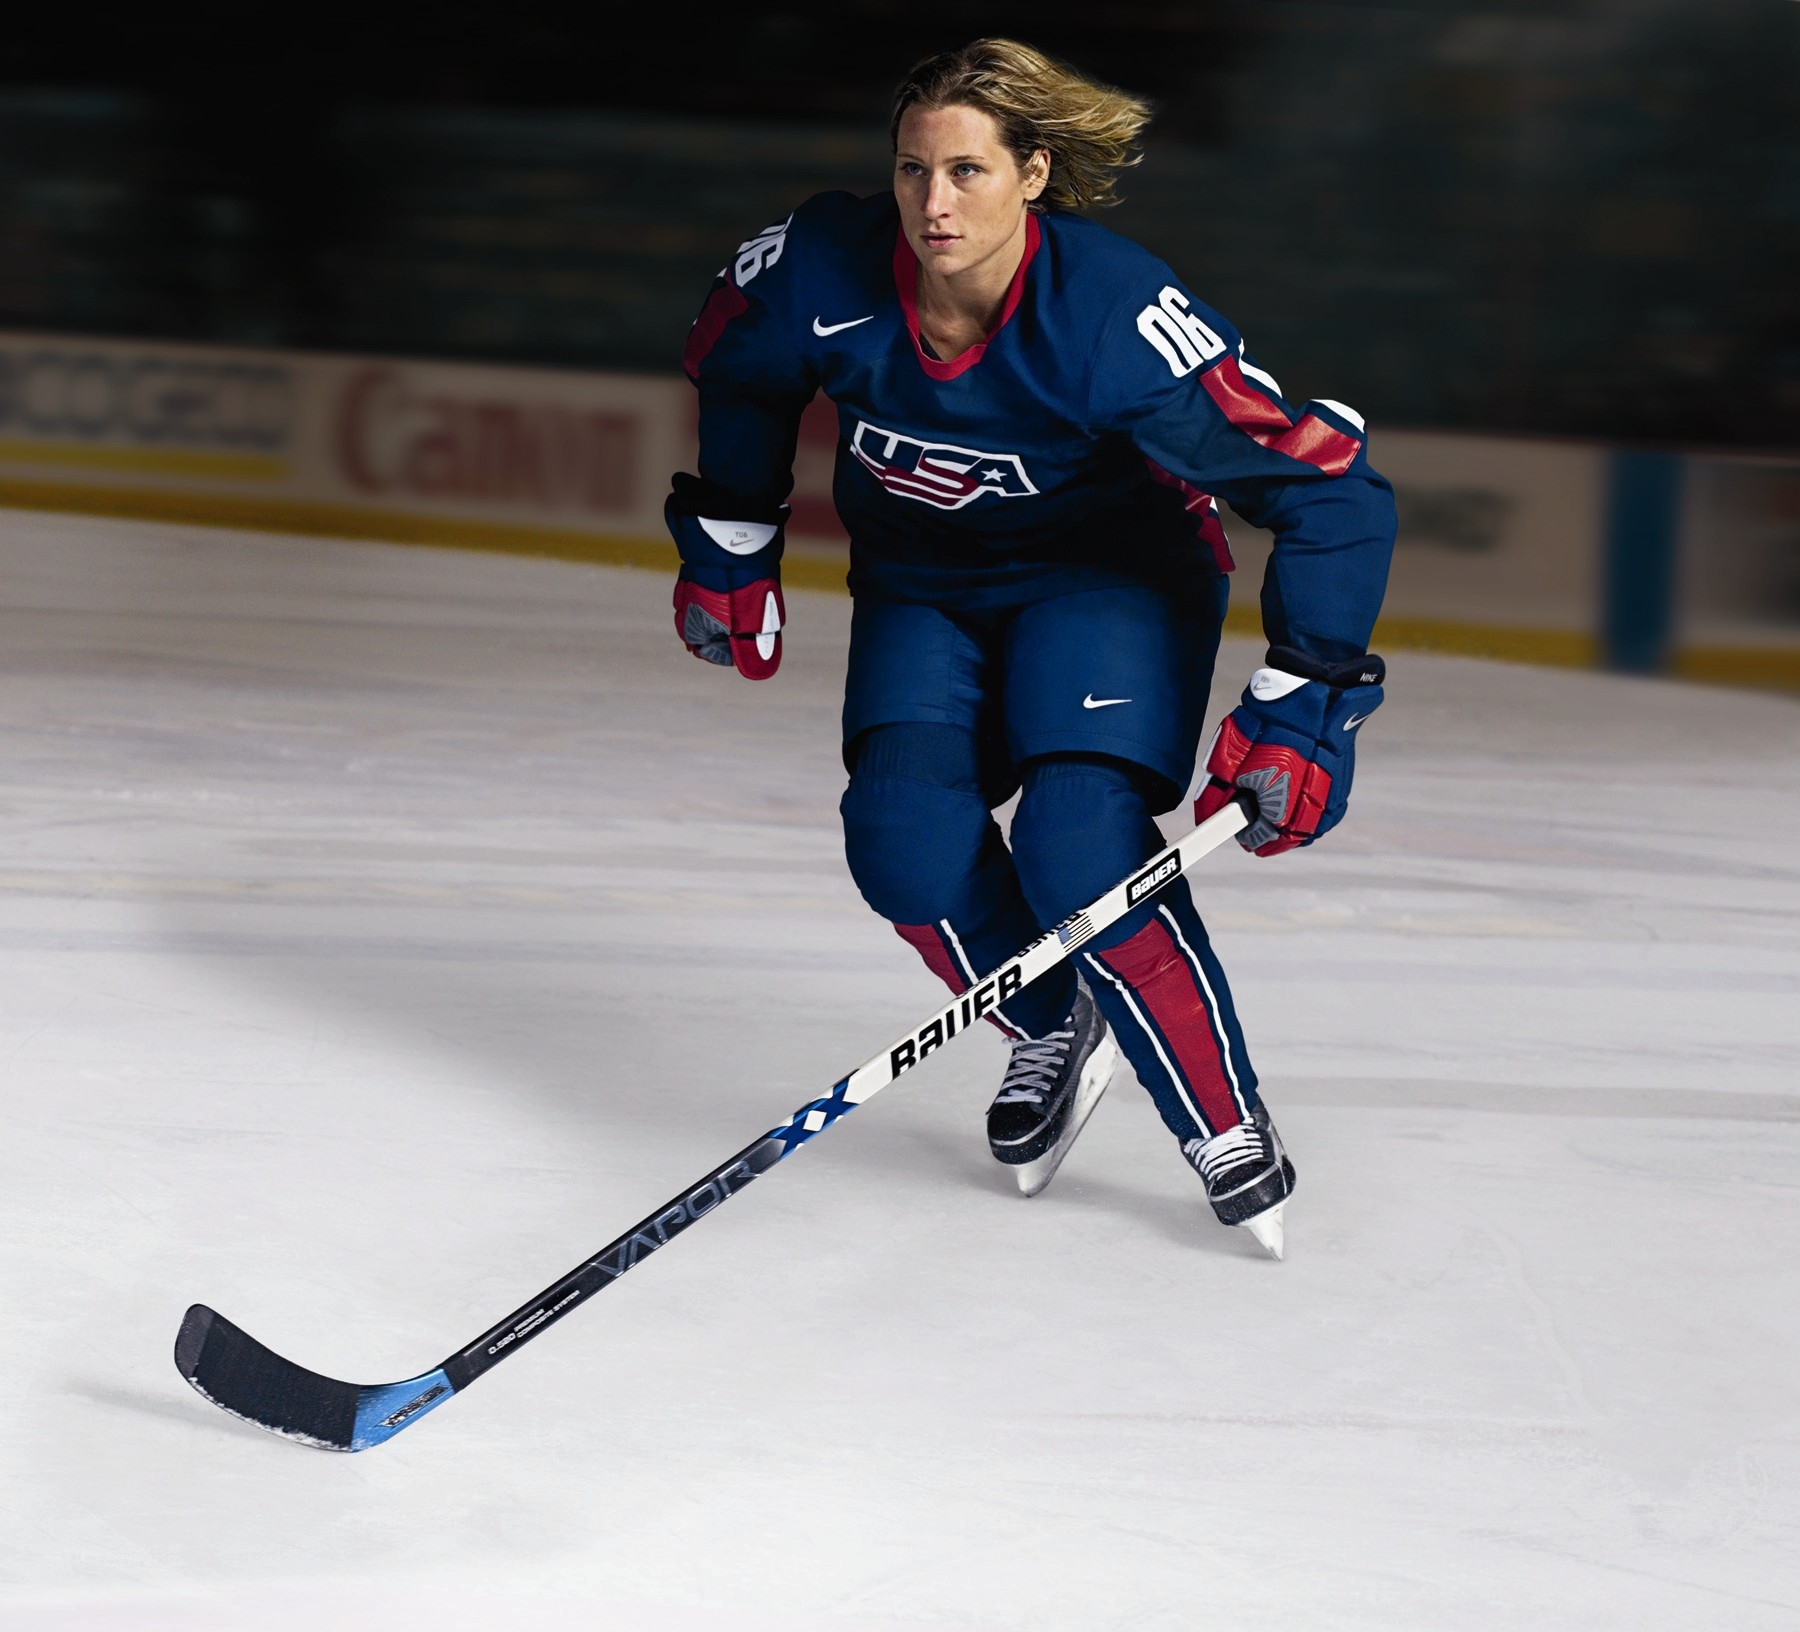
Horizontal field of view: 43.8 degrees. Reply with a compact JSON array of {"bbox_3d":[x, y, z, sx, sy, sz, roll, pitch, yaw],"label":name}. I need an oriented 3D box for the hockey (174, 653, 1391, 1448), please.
[{"bbox_3d":[-0.122,0.270,2.481,1.723,0.297,0.277,-20,63,-22],"label":"hockey"}]

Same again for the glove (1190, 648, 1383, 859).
[{"bbox_3d":[0.395,-0.060,2.227,0.183,0.190,0.094,19,1,26],"label":"glove"}]

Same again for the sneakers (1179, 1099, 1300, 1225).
[{"bbox_3d":[0.332,0.328,2.240,0.085,0.067,0.182,-34,17,12],"label":"sneakers"}]

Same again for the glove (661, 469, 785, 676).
[{"bbox_3d":[-0.168,-0.271,2.485,0.179,0.196,0.125,-1,24,-12],"label":"glove"}]

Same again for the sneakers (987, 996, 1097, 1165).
[{"bbox_3d":[0.159,0.280,2.361,0.084,0.086,0.228,-6,25,25],"label":"sneakers"}]
